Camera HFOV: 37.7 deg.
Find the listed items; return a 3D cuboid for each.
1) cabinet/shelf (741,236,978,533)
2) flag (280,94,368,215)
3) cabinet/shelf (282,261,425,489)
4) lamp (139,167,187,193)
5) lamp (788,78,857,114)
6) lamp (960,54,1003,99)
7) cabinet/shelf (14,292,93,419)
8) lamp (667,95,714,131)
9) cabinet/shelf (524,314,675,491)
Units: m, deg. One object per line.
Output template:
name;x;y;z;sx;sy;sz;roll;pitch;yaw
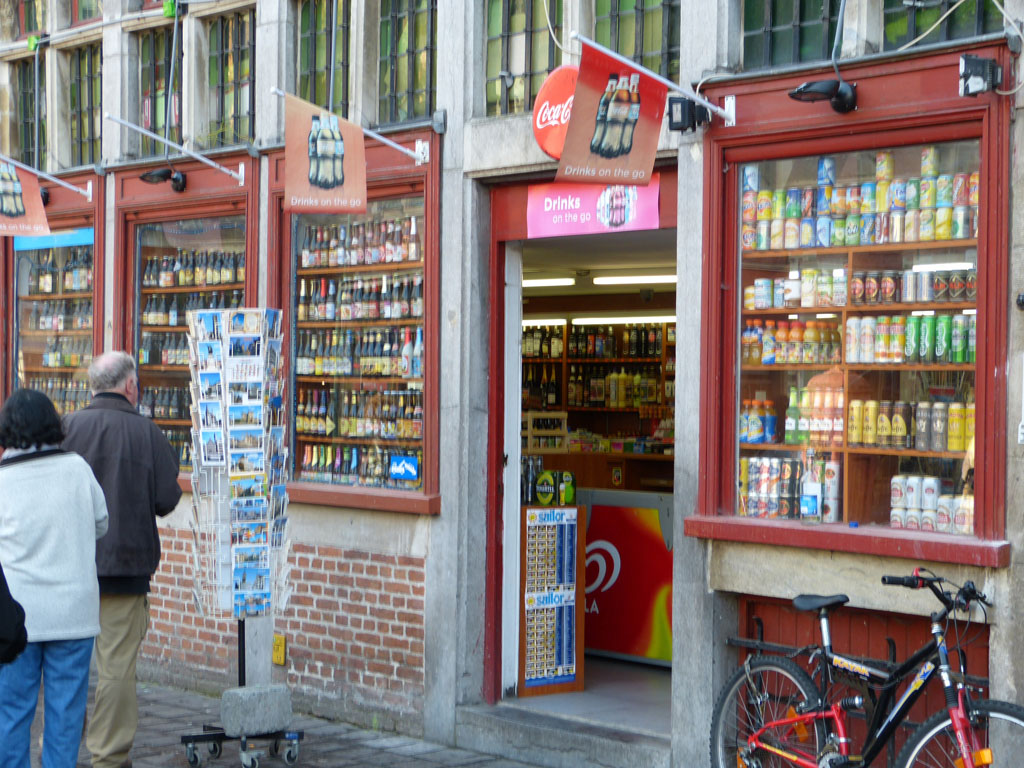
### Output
cabinet/shelf;2.084;0.011;8.784;1.383;1.727;0.419;0;-1;43
flag;-1.261;-1.528;9.905;0.551;0.857;0.016;-2;30;-9
cabinet/shelf;-1.136;-0.051;10.929;1.295;2.031;0.536;-1;-1;41
lamp;-2.847;-1.629;12.006;0.282;0.211;0.482;0;0;-43
lamp;1.799;-1.661;8.589;0.260;0.175;0.219;4;4;-39
lamp;2.533;-1.679;8.146;0.230;0.314;0.184;1;2;17
cabinet/shelf;-3.775;-0.247;12.360;0.823;1.129;0.307;1;1;38
lamp;1.068;-1.622;9.054;0.234;0.328;0.169;0;-3;4
cabinet/shelf;0.754;0.156;13.619;1.375;1.528;1.800;0;0;1
